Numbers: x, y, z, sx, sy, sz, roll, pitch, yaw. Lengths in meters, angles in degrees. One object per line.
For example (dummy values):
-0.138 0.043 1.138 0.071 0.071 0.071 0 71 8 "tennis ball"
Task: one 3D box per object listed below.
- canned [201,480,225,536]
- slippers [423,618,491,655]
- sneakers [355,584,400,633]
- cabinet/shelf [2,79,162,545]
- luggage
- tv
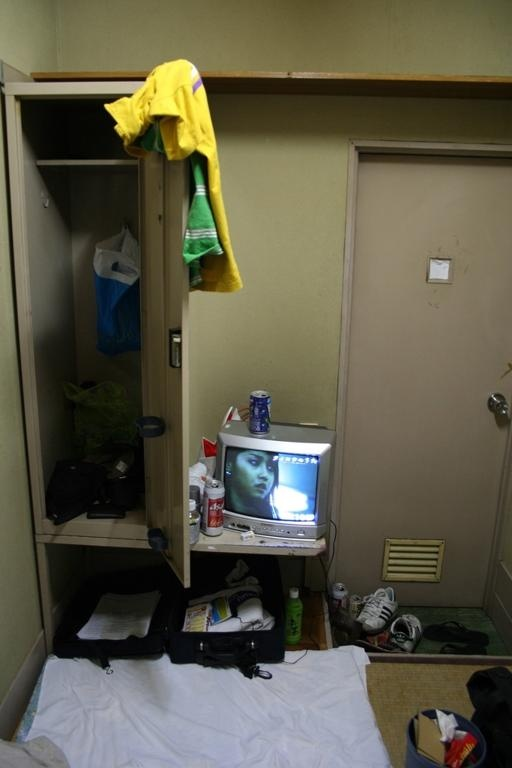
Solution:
-0.140 0.396 1.851 0.066 0.174 0.053 1 10 -8 "canned"
0.804 1.007 2.324 0.268 0.031 0.245 0 12 -14 "slippers"
0.495 0.920 2.380 0.102 0.138 0.317 -1 -3 34 "sneakers"
-0.519 -0.081 1.980 0.491 1.705 0.682 2 10 -5 "cabinet/shelf"
-0.303 0.775 2.159 0.803 0.204 0.609 3 12 -1 "luggage"
0.062 0.288 2.011 0.392 0.395 0.295 8 26 10 "tv"
